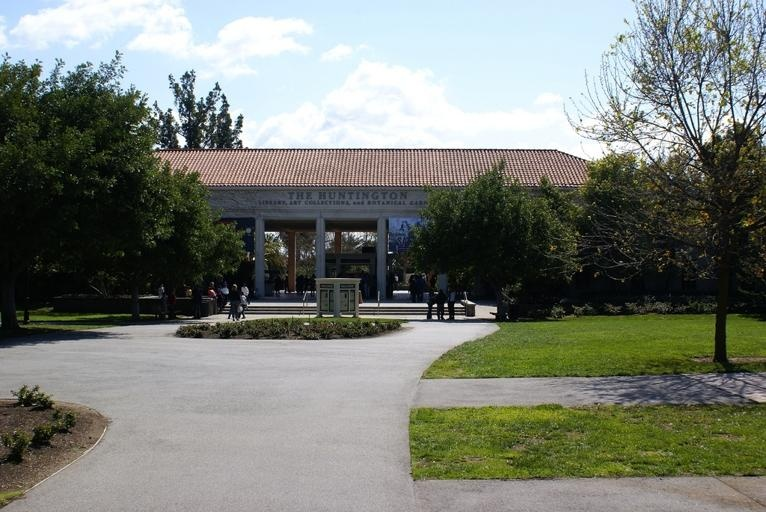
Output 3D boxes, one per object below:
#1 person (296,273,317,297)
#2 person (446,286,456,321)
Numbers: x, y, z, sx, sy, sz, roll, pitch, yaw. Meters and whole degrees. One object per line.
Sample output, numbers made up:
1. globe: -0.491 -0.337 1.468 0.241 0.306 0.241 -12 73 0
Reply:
1. person: -5.713 2.192 59.621 1.499 1.510 0.837 0 -6 -3
2. person: 3.315 2.410 39.675 0.321 1.287 0.989 -1 6 -1
